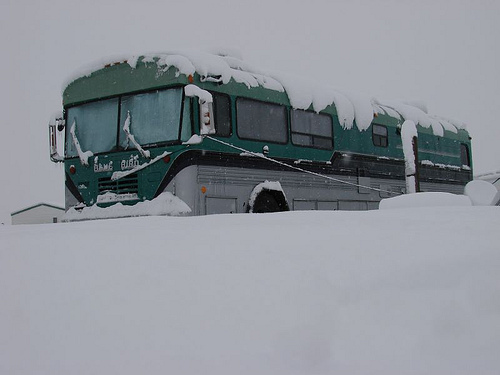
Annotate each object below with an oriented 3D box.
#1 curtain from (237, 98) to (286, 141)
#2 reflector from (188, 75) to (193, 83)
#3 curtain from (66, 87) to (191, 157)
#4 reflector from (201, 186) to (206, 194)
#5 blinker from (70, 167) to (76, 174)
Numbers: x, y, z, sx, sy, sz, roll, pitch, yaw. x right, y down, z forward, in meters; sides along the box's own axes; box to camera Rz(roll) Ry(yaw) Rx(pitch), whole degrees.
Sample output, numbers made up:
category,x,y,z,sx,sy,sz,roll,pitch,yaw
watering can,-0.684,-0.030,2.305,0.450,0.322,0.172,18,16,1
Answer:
category,x,y,z,sx,sy,sz,roll,pitch,yaw
curtain,0.185,-1.232,13.322,1.466,1.022,0.029,4,-5,-44
reflector,-1.029,-1.859,12.196,0.082,0.102,0.027,-4,5,-37
curtain,-2.355,-1.338,12.823,3.149,1.326,0.053,-3,-2,38
reflector,-0.808,0.043,12.131,0.012,0.113,0.097,-4,1,26
blinker,-3.347,-0.321,13.380,0.098,0.156,0.022,7,11,40
